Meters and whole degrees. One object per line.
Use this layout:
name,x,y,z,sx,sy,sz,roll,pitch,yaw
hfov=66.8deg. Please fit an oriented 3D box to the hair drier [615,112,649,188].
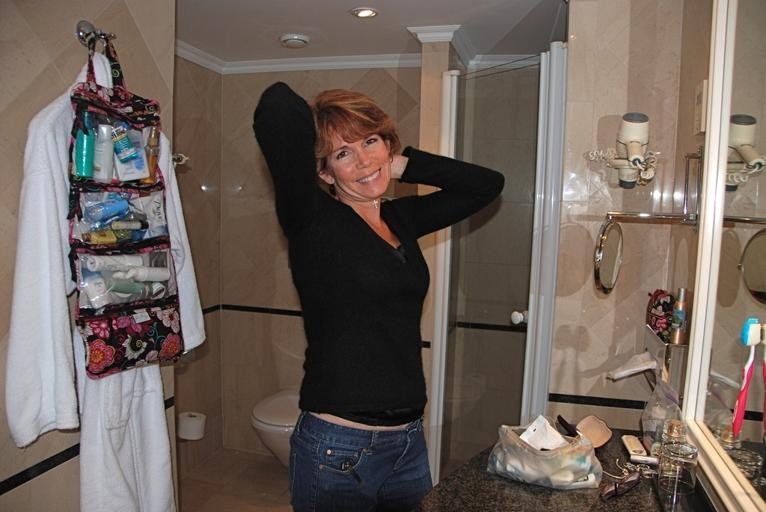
hair drier,1.004,-0.432,2.355,0.145,0.279,0.210,3,6,15

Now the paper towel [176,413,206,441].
paper towel,-1.098,0.991,3.397,0.168,0.121,0.127,-1,-1,19

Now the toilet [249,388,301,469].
toilet,-0.666,0.997,3.303,0.301,0.368,0.375,21,-10,1

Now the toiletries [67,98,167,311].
toiletries,-0.937,-0.175,2.080,0.095,0.685,0.326,2,7,35

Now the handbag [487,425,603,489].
handbag,0.517,0.640,1.877,0.376,0.155,0.207,2,7,24

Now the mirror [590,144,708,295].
mirror,1.054,-0.113,2.392,0.339,0.548,0.179,3,9,14
